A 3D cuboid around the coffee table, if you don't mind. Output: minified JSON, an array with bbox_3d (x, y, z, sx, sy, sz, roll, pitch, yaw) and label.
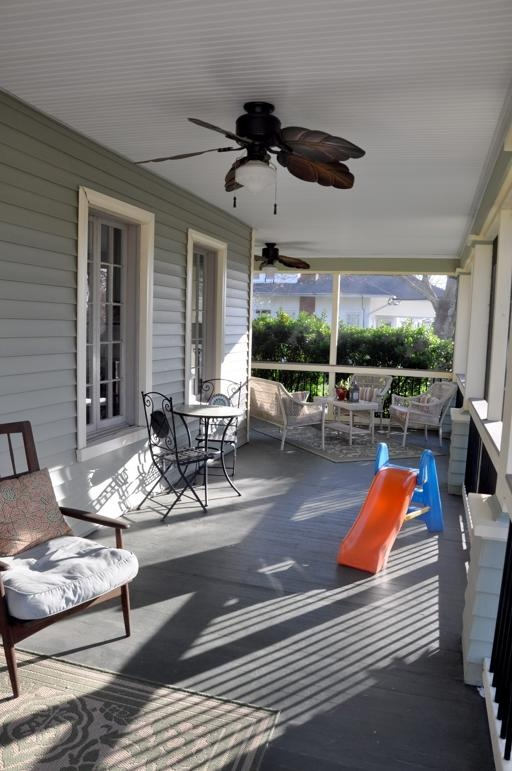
[{"bbox_3d":[-0.468,0.630,4.827,0.626,0.867,0.634,1,6,-14],"label":"coffee table"}]

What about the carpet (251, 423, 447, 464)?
[{"bbox_3d":[1.258,0.827,7.692,2.205,0.088,2.833,-2,5,-44],"label":"carpet"}]

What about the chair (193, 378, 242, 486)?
[{"bbox_3d":[-0.435,0.448,6.016,0.545,1.021,0.562,1,4,7],"label":"chair"}]
